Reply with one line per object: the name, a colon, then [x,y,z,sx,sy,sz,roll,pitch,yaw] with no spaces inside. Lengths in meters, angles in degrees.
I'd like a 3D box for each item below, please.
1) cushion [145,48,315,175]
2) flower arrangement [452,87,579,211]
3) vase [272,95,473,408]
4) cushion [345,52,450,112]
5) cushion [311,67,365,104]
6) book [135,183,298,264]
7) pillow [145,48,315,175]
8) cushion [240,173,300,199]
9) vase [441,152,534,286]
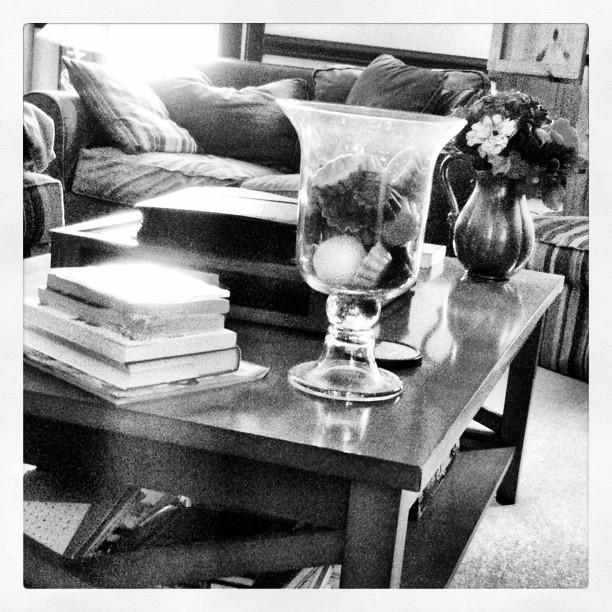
cushion: [-0.139,-0.304,1.284,0.239,0.092,0.242,-1,40,-34]
flower arrangement: [0.323,-0.243,1.115,0.183,0.170,0.081,5,18,7]
vase: [0.047,-0.050,0.635,0.167,0.246,0.163,6,6,2]
cushion: [0.152,-0.361,1.210,0.115,0.116,0.036,19,-8,12]
cushion: [0.051,-0.359,1.165,0.083,0.057,0.195,3,18,0]
book: [-0.100,-0.089,0.799,0.123,0.032,0.126,11,16,12]
pillow: [-0.141,-0.293,1.282,0.242,0.093,0.246,4,37,-29]
cushion: [-0.057,-0.201,1.171,0.100,0.031,0.076,10,23,31]
vase: [0.285,-0.140,1.180,0.161,0.226,0.112,12,-9,-3]
